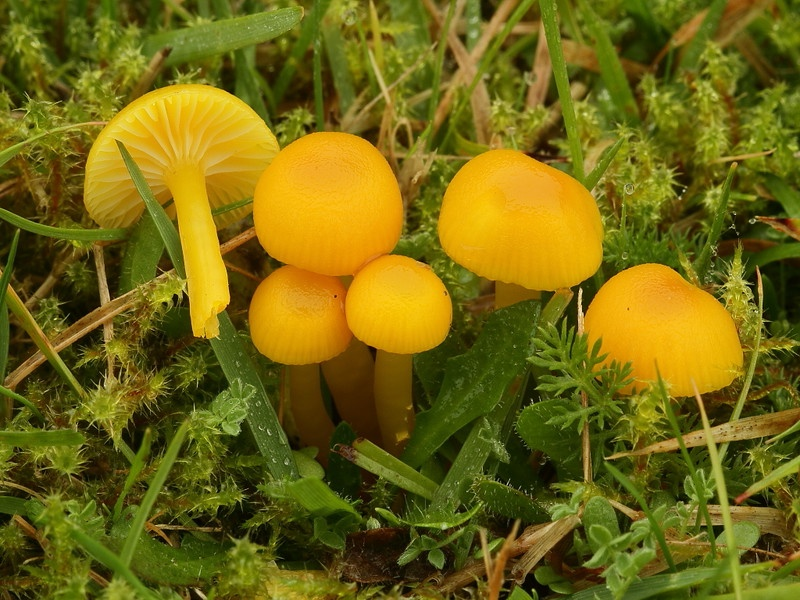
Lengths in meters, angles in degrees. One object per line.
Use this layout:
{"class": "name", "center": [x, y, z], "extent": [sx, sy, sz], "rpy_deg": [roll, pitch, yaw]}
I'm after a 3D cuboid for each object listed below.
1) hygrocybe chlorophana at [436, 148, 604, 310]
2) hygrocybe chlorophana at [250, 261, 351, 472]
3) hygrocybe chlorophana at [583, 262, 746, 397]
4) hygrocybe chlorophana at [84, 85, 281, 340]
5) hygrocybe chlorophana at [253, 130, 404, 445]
{"class": "hygrocybe chlorophana", "center": [0.394, -0.240, 2.482], "extent": [0.530, 0.231, 0.412], "rpy_deg": [23, 71, 0]}
{"class": "hygrocybe chlorophana", "center": [-0.320, 0.231, 2.587], "extent": [0.261, 0.687, 0.311], "rpy_deg": [34, 56, 30]}
{"class": "hygrocybe chlorophana", "center": [0.822, 0.105, 2.408], "extent": [0.385, 0.227, 0.448], "rpy_deg": [10, 73, 5]}
{"class": "hygrocybe chlorophana", "center": [-0.661, -0.352, 2.621], "extent": [0.620, 0.549, 0.611], "rpy_deg": [42, 72, 7]}
{"class": "hygrocybe chlorophana", "center": [-0.185, 0.016, 2.637], "extent": [0.460, 0.505, 1.053], "rpy_deg": [-6, 91, -42]}
